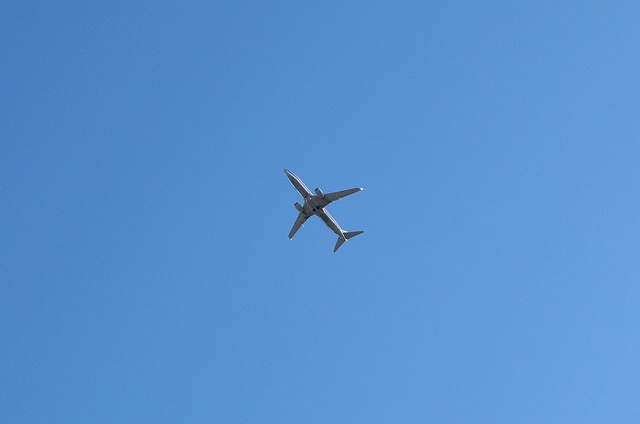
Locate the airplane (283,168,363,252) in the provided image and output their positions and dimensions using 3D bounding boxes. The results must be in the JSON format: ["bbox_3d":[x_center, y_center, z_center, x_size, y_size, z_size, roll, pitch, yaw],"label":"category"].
[{"bbox_3d":[-1.288,-0.820,134.058,10.874,3.543,10.249,47,-67,14],"label":"airplane"}]
